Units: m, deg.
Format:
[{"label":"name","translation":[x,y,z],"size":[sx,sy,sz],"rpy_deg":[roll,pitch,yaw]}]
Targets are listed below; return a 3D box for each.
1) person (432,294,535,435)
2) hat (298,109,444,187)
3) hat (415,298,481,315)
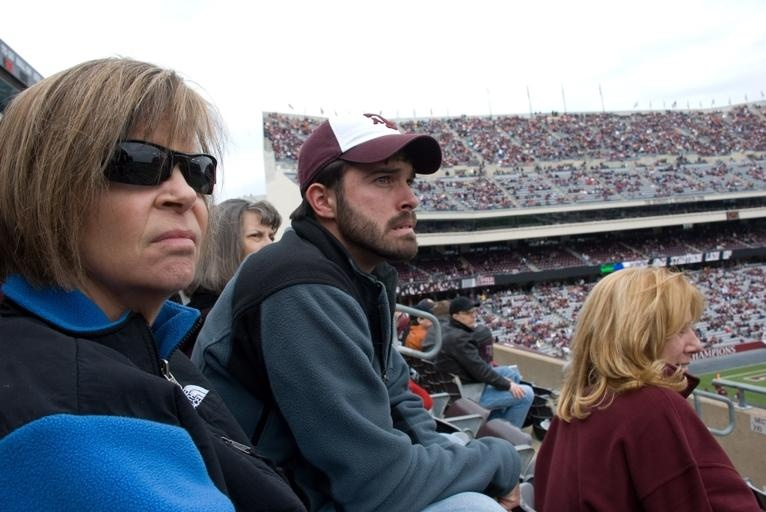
[{"label":"person","translation":[0.920,1.044,5.888],"size":[0.915,1.255,0.617],"rpy_deg":[-2,9,4]},{"label":"hat","translation":[-0.086,-0.487,2.926],"size":[0.588,0.271,0.368],"rpy_deg":[-17,-7,22]},{"label":"hat","translation":[0.638,0.522,6.762],"size":[0.784,0.182,0.427],"rpy_deg":[-2,-4,4]}]
